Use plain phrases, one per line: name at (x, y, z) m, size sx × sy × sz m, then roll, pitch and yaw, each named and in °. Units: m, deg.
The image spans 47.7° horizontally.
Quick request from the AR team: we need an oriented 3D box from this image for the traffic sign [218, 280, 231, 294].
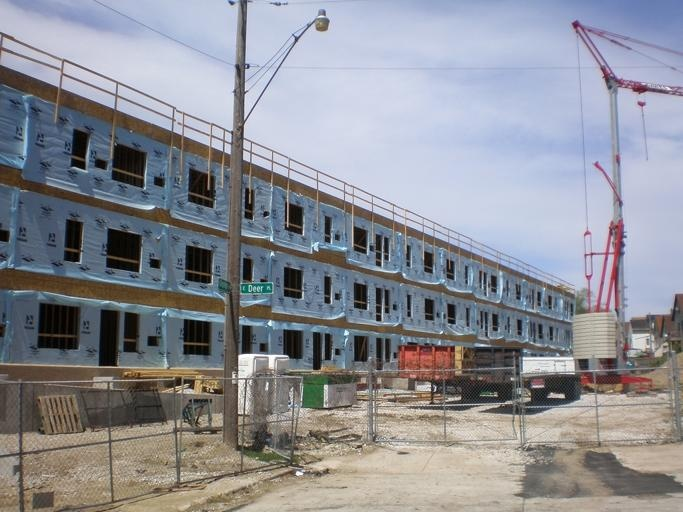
traffic sign at (-3.833, 1.019, 25.402) m, size 0.141 × 0.447 × 0.729 m, roll -1°, pitch -6°, yaw 17°
